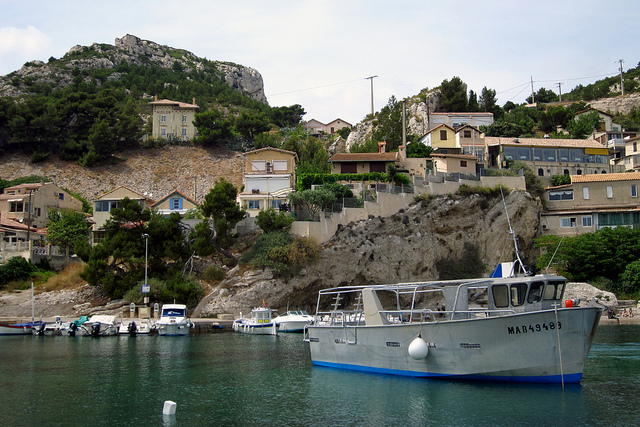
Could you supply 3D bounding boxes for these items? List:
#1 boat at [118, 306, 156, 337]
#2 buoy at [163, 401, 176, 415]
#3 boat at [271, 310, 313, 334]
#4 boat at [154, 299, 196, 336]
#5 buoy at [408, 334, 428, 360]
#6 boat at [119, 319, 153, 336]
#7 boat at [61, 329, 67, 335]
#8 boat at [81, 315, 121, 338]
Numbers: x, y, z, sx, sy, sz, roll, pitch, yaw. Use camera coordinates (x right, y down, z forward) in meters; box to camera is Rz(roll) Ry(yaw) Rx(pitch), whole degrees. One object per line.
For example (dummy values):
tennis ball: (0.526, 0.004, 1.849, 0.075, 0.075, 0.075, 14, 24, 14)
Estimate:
boat: (-23.641, 14.611, 90.493, 4.354, 2.051, 4.710, -3, 10, -14)
buoy: (-13.132, 16.930, 61.187, 1.013, 1.059, 1.042, 2, 2, -12)
boat: (-3.352, 14.291, 92.094, 3.238, 1.991, 4.793, 2, -3, -44)
boat: (-18.588, 13.642, 89.598, 4.585, 3.716, 3.264, 0, 10, 7)
buoy: (9.202, 12.584, 64.683, 1.687, 2.509, 1.761, 2, -11, 7)
boat: (-23.710, 14.492, 89.973, 3.922, 1.634, 3.044, 0, 10, 4)
boat: (-33.081, 15.324, 90.186, 0.795, 0.678, 0.145, 0, 10, 4)
boat: (-28.150, 14.528, 89.454, 4.375, 2.102, 2.408, 1, 10, 12)
